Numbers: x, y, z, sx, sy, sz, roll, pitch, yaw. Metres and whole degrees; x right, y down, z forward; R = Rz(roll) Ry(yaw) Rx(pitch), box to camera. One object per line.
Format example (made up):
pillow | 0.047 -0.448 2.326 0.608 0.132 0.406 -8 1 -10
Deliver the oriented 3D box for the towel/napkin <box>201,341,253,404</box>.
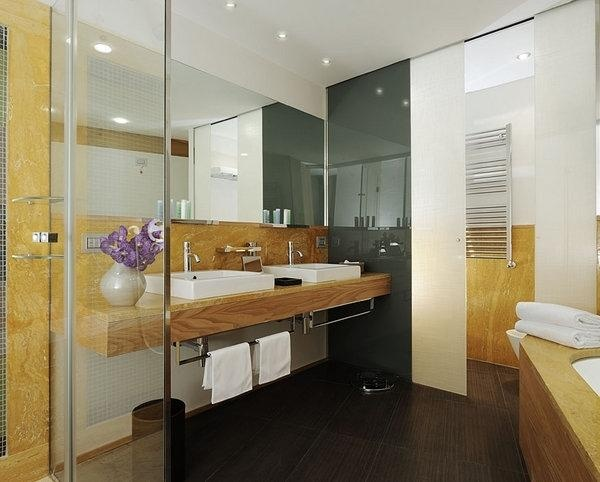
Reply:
towel/napkin | -0.419 0.776 2.511 0.103 0.296 0.293 7 7 41

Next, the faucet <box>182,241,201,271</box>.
faucet | -0.749 0.111 2.921 0.114 0.209 0.267 -1 6 -15

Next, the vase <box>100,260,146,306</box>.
vase | -0.755 0.187 1.807 0.166 0.242 0.173 1 -7 0

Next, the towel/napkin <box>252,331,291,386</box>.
towel/napkin | -0.128 0.786 2.810 0.238 0.240 0.089 -26 -19 30
